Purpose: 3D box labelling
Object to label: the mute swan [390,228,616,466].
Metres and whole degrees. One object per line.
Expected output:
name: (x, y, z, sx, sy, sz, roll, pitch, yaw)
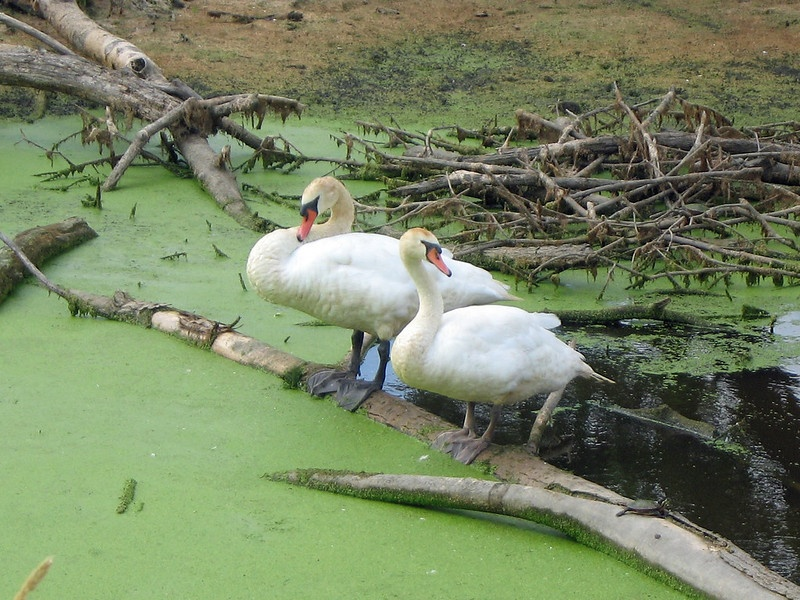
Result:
mute swan: (0.511, 0.454, 6.270, 1.387, 1.441, 0.970, 31, 46, 31)
